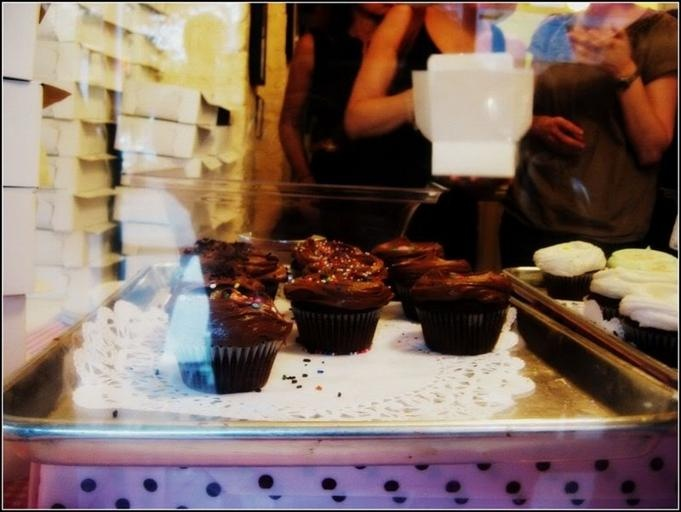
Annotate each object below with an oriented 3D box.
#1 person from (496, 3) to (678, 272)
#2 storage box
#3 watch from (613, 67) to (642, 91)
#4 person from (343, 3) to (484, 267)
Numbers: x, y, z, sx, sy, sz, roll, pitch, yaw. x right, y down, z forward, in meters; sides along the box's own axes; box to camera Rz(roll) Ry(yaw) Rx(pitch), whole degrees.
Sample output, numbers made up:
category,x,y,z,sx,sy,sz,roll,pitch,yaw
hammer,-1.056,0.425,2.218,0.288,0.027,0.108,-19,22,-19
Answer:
category,x,y,z,sx,sy,sz,roll,pitch,yaw
person,0.626,-0.241,1.452,0.402,0.659,0.369,6,17,22
storage box,-0.457,-0.210,1.194,0.624,0.635,0.196,-14,21,-41
watch,0.692,-0.421,1.345,0.040,0.033,0.031,-32,32,-2
person,0.193,-0.271,1.538,0.384,0.682,0.591,3,16,12
